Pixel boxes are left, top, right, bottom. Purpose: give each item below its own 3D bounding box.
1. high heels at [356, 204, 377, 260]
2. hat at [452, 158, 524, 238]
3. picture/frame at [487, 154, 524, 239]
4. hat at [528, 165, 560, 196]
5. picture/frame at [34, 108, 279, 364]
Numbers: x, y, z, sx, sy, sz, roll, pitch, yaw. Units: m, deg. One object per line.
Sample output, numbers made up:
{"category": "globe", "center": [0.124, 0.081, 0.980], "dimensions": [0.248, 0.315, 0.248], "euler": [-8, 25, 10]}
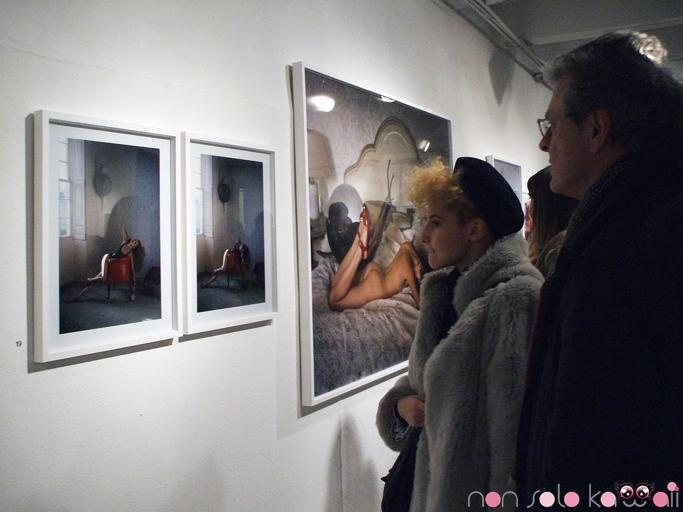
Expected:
{"category": "high heels", "center": [0.110, -0.106, 2.399], "dimensions": [0.064, 0.238, 0.089], "euler": [0, -5, -4]}
{"category": "hat", "center": [0.358, -0.141, 1.417], "dimensions": [0.077, 0.207, 0.153], "euler": [-36, -4, 37]}
{"category": "picture/frame", "center": [0.447, -0.187, 1.450], "dimensions": [0.137, 0.146, 0.011], "euler": [12, -10, -31]}
{"category": "hat", "center": [0.487, -0.184, 1.301], "dimensions": [0.045, 0.063, 0.058], "euler": [0, 17, -24]}
{"category": "picture/frame", "center": [-0.614, -0.065, 1.712], "dimensions": [0.891, 0.776, 0.065], "euler": [-1, -1, -45]}
